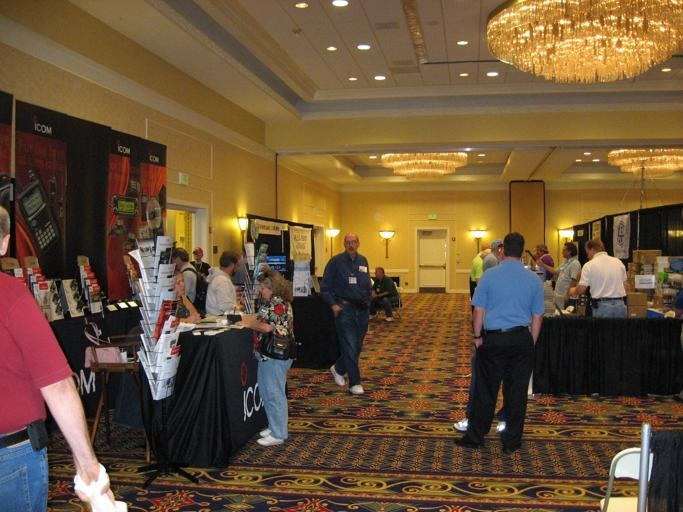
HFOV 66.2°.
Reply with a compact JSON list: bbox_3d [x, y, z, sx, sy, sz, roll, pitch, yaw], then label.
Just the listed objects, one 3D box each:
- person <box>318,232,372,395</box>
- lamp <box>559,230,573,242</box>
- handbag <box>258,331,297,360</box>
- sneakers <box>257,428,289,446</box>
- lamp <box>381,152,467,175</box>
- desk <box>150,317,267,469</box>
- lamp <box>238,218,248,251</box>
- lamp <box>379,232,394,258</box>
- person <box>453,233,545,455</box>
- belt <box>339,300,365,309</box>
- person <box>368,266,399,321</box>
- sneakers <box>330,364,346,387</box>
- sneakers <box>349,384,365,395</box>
[{"bbox_3d":[0.057,0.690,6.230,0.595,1.864,0.370,-1,2,-3],"label":"person"},{"bbox_3d":[7.696,-0.663,17.891,0.373,0.481,0.380,-1,-5,6],"label":"lamp"},{"bbox_3d":[-0.551,0.769,4.446,0.311,0.221,0.229,7,-10,-8],"label":"handbag"},{"bbox_3d":[-0.607,1.628,4.730,0.302,0.133,0.111,6,-5,1],"label":"sneakers"},{"bbox_3d":[2.253,-2.473,14.209,2.158,0.503,1.149,-1,2,-4],"label":"lamp"},{"bbox_3d":[-1.094,1.169,4.529,0.885,1.017,1.420,0,1,6],"label":"desk"},{"bbox_3d":[-1.989,-0.457,10.525,0.167,0.656,0.200,0,2,10],"label":"lamp"},{"bbox_3d":[1.724,-0.419,19.861,0.588,1.068,0.550,-1,2,4],"label":"lamp"},{"bbox_3d":[1.367,0.744,4.497,0.713,1.846,0.274,0,2,12],"label":"person"},{"bbox_3d":[0.136,0.574,6.133,0.304,0.106,0.044,-1,2,-6],"label":"belt"},{"bbox_3d":[0.935,0.902,12.587,0.727,1.214,0.802,-2,5,36],"label":"person"},{"bbox_3d":[-0.062,1.519,6.584,0.118,0.302,0.126,-13,11,19],"label":"sneakers"},{"bbox_3d":[0.187,1.569,6.198,0.192,0.116,0.179,-1,2,-6],"label":"sneakers"}]
